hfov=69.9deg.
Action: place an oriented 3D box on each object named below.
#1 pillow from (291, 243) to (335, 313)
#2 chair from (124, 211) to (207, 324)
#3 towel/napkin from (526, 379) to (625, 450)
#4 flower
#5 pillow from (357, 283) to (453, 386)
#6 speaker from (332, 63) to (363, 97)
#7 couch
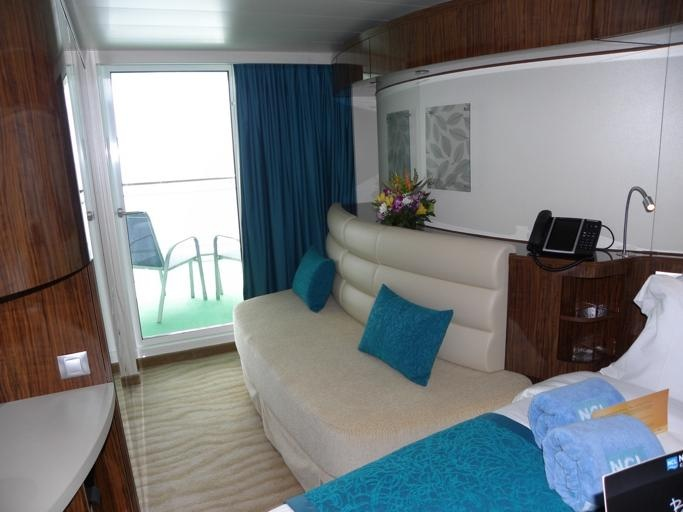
[{"bbox_3d":[-0.276,0.227,4.473,0.263,0.459,0.586,-11,15,-19],"label":"pillow"},{"bbox_3d":[-1.846,0.070,5.066,0.589,1.025,0.679,5,12,29],"label":"chair"},{"bbox_3d":[1.014,0.634,2.135,0.309,0.119,0.303,-23,20,-1],"label":"towel/napkin"},{"bbox_3d":[0.544,-0.438,4.021,0.488,0.493,0.484,-1,4,-29],"label":"flower"},{"bbox_3d":[0.401,0.529,3.217,0.269,0.479,0.672,-5,15,-35],"label":"pillow"},{"bbox_3d":[0.054,-1.586,4.378,0.337,0.269,0.342,-9,19,-42],"label":"speaker"},{"bbox_3d":[0.032,0.651,3.720,1.300,1.714,2.528,-11,16,-29],"label":"couch"}]
